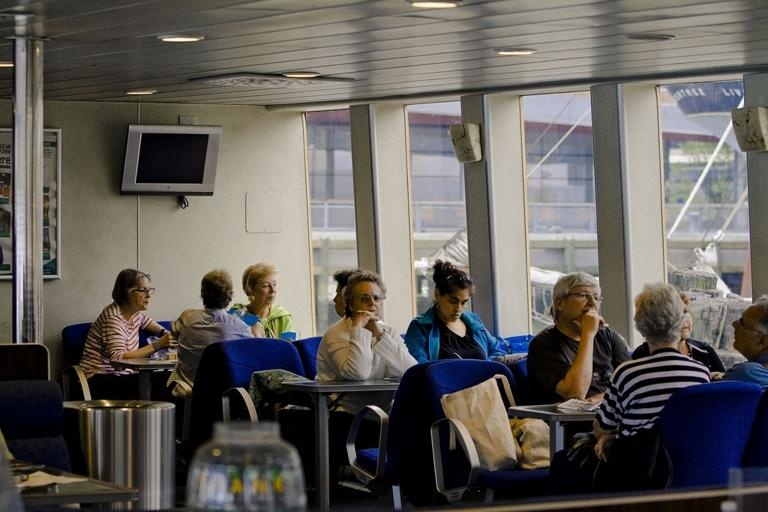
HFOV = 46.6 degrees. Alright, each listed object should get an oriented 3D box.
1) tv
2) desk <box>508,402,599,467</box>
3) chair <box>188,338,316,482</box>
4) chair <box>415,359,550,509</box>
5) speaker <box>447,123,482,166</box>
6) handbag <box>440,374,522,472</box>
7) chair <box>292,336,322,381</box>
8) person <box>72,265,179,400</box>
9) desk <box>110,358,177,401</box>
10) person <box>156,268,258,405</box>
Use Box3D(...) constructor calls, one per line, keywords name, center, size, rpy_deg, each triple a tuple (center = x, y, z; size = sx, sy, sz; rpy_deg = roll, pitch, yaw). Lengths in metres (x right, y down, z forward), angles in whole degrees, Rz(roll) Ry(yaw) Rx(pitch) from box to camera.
Box3D(name="tv", center=(-2.308, -1.042, 9.459), size=(0.712, 0.537, 0.094), rpy_deg=(6, -10, -4))
Box3D(name="desk", center=(0.942, 0.972, 5.039), size=(0.347, 0.338, 0.344), rpy_deg=(0, -4, -21))
Box3D(name="chair", center=(-1.110, 1.047, 6.698), size=(0.730, 1.000, 0.806), rpy_deg=(3, -8, -28))
Box3D(name="chair", center=(0.494, 0.991, 5.345), size=(0.938, 0.912, 0.780), rpy_deg=(6, -9, -41))
Box3D(name="speaker", center=(0.826, -1.155, 8.979), size=(0.363, 0.365, 0.100), rpy_deg=(2, 8, 19))
Box3D(name="handbag", center=(0.552, 0.998, 5.233), size=(0.356, 0.461, 0.322), rpy_deg=(-17, -15, -30))
Box3D(name="chair", center=(-0.582, 0.788, 7.080), size=(0.289, 0.379, 0.309), rpy_deg=(5, -10, -39))
Box3D(name="person", center=(-2.591, 0.626, 8.406), size=(1.089, 1.603, 1.112), rpy_deg=(1, 1, -7))
Box3D(name="desk", center=(-1.956, 0.999, 7.263), size=(0.472, 0.458, 0.473), rpy_deg=(0, 3, -17))
Box3D(name="person", center=(-1.422, 0.644, 7.193), size=(0.923, 1.314, 0.917), rpy_deg=(4, 8, -6))
